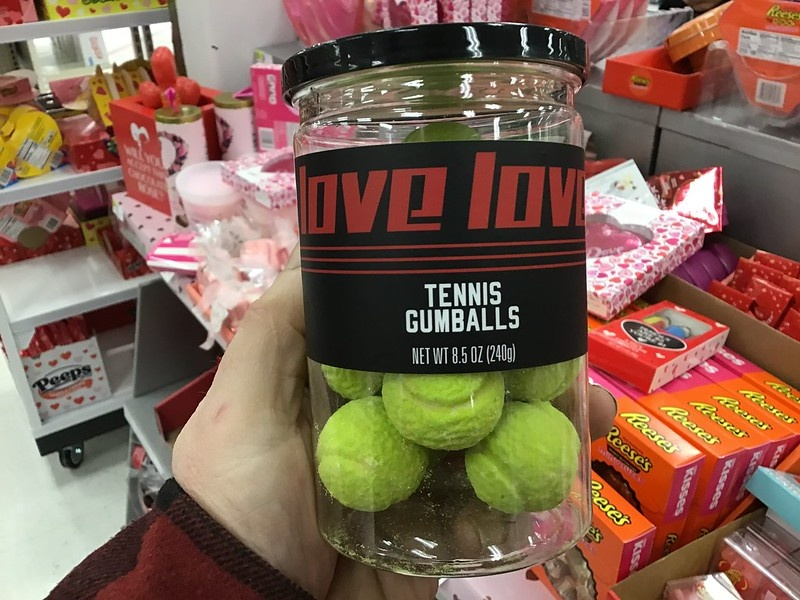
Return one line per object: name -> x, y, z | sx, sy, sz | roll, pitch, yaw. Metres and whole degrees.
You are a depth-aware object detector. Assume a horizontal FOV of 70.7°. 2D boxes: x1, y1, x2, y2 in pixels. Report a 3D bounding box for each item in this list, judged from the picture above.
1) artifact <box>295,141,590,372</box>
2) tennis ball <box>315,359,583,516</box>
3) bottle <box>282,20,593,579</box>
artifact -> 0.046, -0.052, 0.558 | 0.240, 0.179, 0.245 | -2, 6, -7
tennis ball -> 0.054, 0.137, 0.598 | 0.286, 0.151, 0.111 | -4, 29, 3
bottle -> 0.054, -0.027, 0.944 | 0.498, 0.857, 0.505 | -1, 6, 0
